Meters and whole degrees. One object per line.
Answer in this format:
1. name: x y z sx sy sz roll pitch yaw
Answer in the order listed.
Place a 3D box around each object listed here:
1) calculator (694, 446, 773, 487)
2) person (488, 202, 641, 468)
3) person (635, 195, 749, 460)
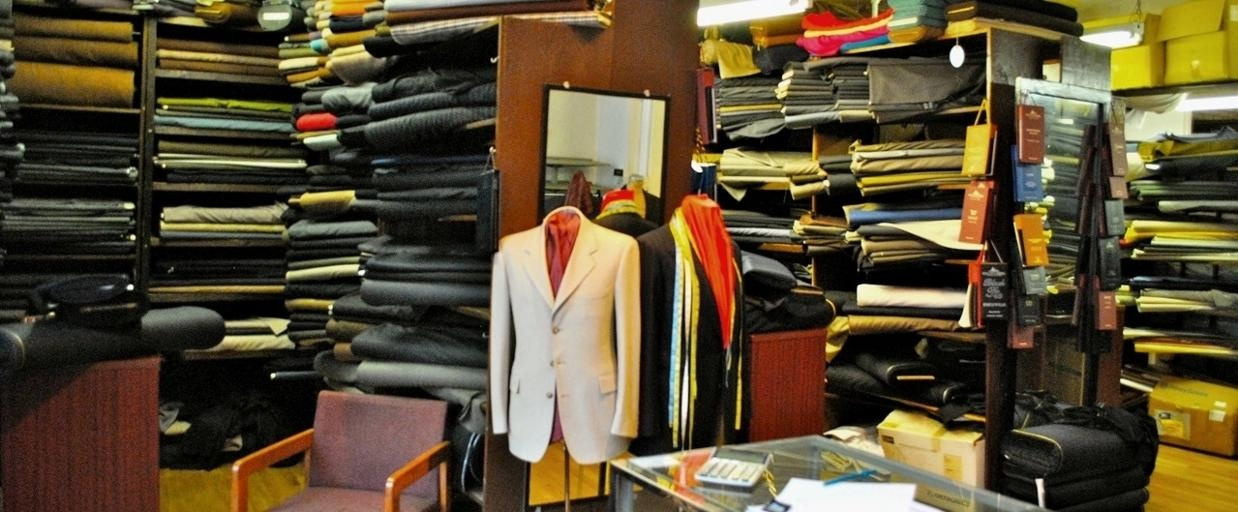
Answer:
1. calculator: 0.908 1.681 7.312 0.572 0.260 0.247 1 1 7
2. person: -0.373 0.651 8.399 1.310 2.222 1.001 -1 1 15
3. person: 0.603 0.830 8.228 1.261 2.295 0.837 -5 10 -37
